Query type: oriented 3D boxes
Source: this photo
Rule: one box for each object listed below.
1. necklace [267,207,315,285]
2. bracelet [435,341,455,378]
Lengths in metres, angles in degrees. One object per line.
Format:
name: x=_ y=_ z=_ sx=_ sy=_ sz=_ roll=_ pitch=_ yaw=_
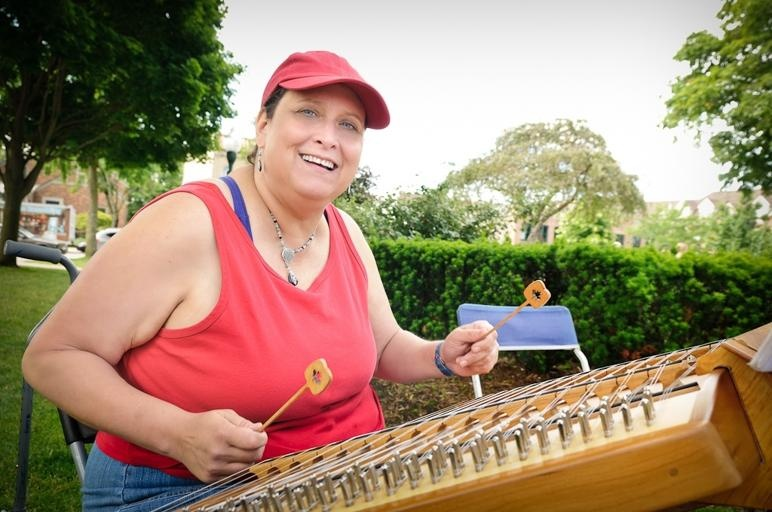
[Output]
necklace: x=-0.627 y=-0.063 z=3.741 sx=0.066 sy=0.421 sz=0.420 roll=-23 pitch=-47 yaw=16
bracelet: x=0.393 y=0.737 z=4.022 sx=0.069 sy=0.215 sz=0.174 roll=-13 pitch=5 yaw=-13
